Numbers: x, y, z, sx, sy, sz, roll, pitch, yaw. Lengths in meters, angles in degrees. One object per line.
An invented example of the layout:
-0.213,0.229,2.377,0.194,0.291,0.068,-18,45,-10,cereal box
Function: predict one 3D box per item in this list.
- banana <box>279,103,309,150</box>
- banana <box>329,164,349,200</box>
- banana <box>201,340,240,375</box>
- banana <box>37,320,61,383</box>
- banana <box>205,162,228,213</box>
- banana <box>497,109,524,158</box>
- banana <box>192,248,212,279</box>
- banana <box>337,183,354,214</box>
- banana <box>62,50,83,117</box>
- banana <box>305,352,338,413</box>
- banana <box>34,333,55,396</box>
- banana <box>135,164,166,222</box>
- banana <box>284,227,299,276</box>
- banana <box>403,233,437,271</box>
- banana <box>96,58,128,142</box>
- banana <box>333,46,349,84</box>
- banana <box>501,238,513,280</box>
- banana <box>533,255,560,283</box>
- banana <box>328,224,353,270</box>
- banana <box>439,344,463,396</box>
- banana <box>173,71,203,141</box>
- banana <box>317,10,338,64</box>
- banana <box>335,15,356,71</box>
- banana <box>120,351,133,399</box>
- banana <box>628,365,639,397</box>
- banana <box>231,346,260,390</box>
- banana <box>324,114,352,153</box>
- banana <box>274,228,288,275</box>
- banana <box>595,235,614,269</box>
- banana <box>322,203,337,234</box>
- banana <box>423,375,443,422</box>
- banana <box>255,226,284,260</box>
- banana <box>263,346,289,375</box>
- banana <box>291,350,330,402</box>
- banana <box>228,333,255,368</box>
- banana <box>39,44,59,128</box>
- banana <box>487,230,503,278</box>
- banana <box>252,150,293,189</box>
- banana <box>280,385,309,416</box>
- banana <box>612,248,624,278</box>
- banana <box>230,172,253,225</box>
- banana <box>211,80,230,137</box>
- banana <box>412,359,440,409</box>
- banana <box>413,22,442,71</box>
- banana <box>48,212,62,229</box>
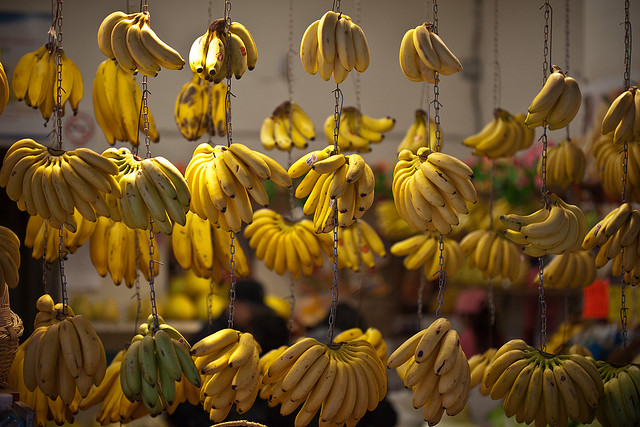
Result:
-0.144,-0.548,6.465,0.078,0.446,0.152,-9,-46,-7,banana
0.136,-0.198,5.693,0.077,0.265,0.078,17,-28,21,banana
-0.601,0.867,5.621,0.059,0.211,0.066,48,-33,-14,banana
-1.615,0.822,5.616,0.085,0.385,0.114,4,-16,18,banana
-0.625,-0.149,5.668,0.102,0.364,0.089,-1,-22,-35,banana
1.299,-0.551,6.450,0.075,0.287,0.229,6,-28,0,banana
-0.754,0.307,6.032,0.034,0.188,0.057,-13,-2,-38,banana
0.161,-0.084,5.693,0.054,0.249,0.079,14,-16,-19,banana
-1.567,-0.840,6.049,0.108,0.433,0.134,3,12,39,banana
0.002,1.017,5.598,0.060,0.327,0.103,25,-13,-7,banana
-1.642,0.897,5.669,0.086,0.393,0.112,-3,0,18,banana
-1.004,-0.102,5.586,0.120,0.424,0.102,-17,-3,38,banana
-0.187,0.269,6.293,0.069,0.355,0.093,-5,2,32,banana
0.674,0.258,6.348,0.086,0.234,0.218,36,9,13,banana
-1.317,-0.726,6.004,0.177,0.610,0.136,-4,3,42,banana
0.126,-0.886,5.736,0.080,0.256,0.059,4,-6,-40,banana
1.269,0.312,6.406,0.060,0.227,0.107,-3,-6,18,banana
1.569,0.384,6.512,0.089,0.279,0.050,34,-12,12,banana
0.136,0.210,6.184,0.049,0.287,0.087,-11,9,25,banana
0.774,0.960,5.639,0.078,0.331,0.094,18,-8,-23,banana
-0.873,-0.739,6.423,0.161,0.587,0.159,6,-23,-23,banana
0.045,-1.077,5.726,0.122,0.319,0.072,0,-4,-2,banana
0.147,-1.035,5.760,0.084,0.363,0.101,-7,-4,-25,banana
-1.152,0.967,5.607,0.077,0.288,0.059,4,-9,-24,banana
1.935,1.034,5.840,0.036,0.193,0.061,-9,-19,-14,banana
-0.440,0.947,5.656,0.082,0.329,0.098,30,-22,-15,banana
0.091,-0.551,6.377,0.068,0.203,0.134,32,-24,41,banana
-0.268,0.263,6.338,0.070,0.356,0.099,4,4,41,banana
1.804,0.261,5.996,0.064,0.235,0.051,-7,21,-40,banana
0.053,0.022,5.728,0.096,0.170,0.083,-2,-5,22,banana
0.674,1.138,5.675,0.073,0.320,0.097,18,-7,-3,banana
-0.341,0.203,6.340,0.049,0.224,0.147,17,0,-26,banana
-0.270,0.911,5.792,0.049,0.201,0.036,20,-15,48,banana
-0.061,0.985,5.660,0.106,0.426,0.133,32,-13,6,banana
-0.470,0.819,5.633,0.118,0.074,0.267,17,31,1,banana
-1.700,-0.759,5.956,0.103,0.616,0.194,1,-6,-12,banana
1.186,0.270,6.398,0.069,0.299,0.099,7,-25,4,banana
-0.316,-0.288,6.166,0.098,0.356,0.119,-40,-1,-27,banana
-0.159,1.134,5.641,0.071,0.288,0.084,31,10,4,banana
1.892,0.321,6.006,0.044,0.196,0.058,-1,13,-22,banana
-0.462,-0.064,5.650,0.083,0.378,0.116,-13,10,13,banana
-0.683,-0.723,6.370,0.104,0.372,0.184,1,-4,-7,banana
0.623,1.050,5.620,0.087,0.370,0.111,26,-6,0,banana
0.650,-1.007,5.701,0.169,0.263,0.061,0,-4,6,banana
-1.595,0.052,5.659,0.031,0.142,0.050,0,35,23,banana
